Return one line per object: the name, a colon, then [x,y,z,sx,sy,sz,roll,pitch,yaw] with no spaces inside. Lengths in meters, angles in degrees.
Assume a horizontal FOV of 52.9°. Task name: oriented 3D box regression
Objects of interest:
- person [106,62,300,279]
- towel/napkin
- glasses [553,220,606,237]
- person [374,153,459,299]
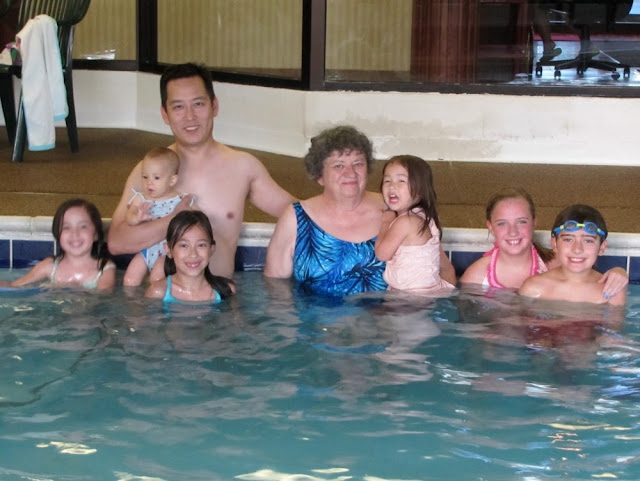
person: [-0.583,-0.377,3.902,1.473,1.287,0.735,-6,19,-27]
towel/napkin: [-2.413,-1.369,5.586,0.354,1.146,0.220,-4,9,-20]
glasses: [1.441,-0.064,3.560,0.275,0.107,0.110,2,9,19]
person: [0.573,-0.085,3.726,0.512,0.783,0.241,-6,10,-31]
